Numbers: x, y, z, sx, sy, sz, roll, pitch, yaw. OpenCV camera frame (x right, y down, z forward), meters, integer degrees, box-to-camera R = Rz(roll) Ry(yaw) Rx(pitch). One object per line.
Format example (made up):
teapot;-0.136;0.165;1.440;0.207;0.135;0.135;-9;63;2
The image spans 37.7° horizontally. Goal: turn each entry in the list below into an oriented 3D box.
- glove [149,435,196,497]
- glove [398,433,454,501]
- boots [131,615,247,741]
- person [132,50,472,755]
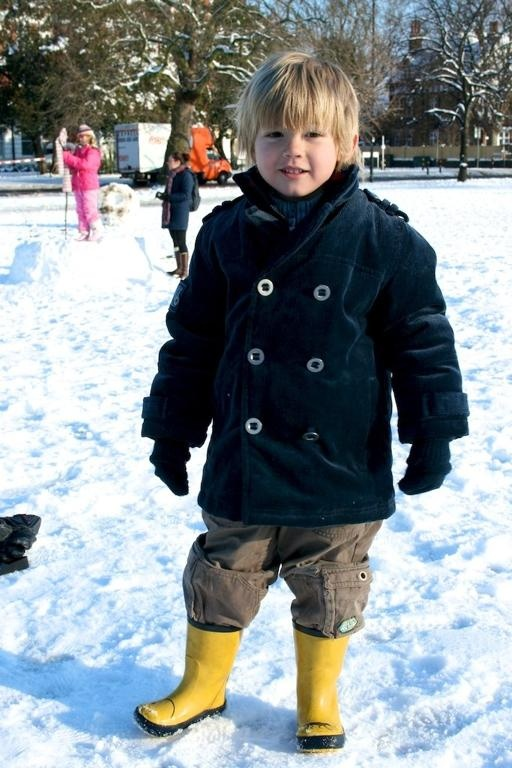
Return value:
glove;-0.192;0.181;1.729;0.061;0.165;0.077;-8;7;-6
glove;0.349;0.171;1.564;0.102;0.131;0.093;-1;13;-1
boots;-0.158;0.692;1.788;0.276;0.235;0.119;6;0;-43
person;0.089;0.078;1.652;0.723;1.541;0.392;2;14;13
